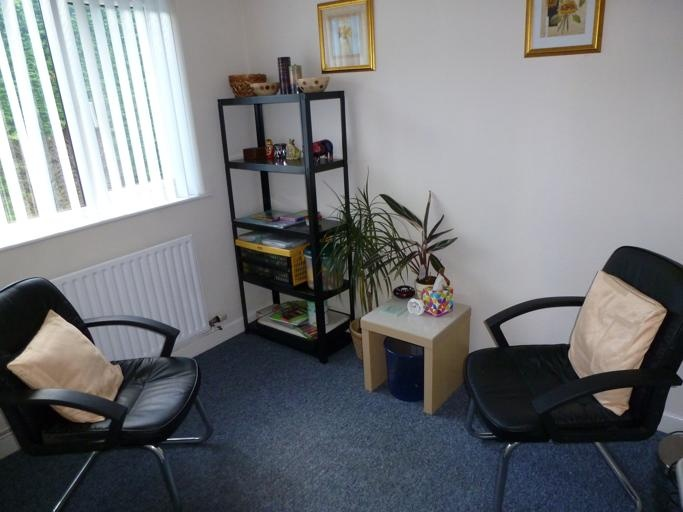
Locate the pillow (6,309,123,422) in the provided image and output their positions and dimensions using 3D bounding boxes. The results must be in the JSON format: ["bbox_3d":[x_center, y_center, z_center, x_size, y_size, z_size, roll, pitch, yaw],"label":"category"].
[{"bbox_3d":[-1.321,0.564,2.516,0.145,0.497,0.476,-32,41,14],"label":"pillow"}]

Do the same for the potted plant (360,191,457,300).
[{"bbox_3d":[0.412,-0.046,3.297,0.652,0.688,0.518,5,25,16],"label":"potted plant"}]

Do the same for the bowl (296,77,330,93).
[{"bbox_3d":[-0.181,-1.087,3.233,0.200,0.086,0.218,-3,25,1],"label":"bowl"}]

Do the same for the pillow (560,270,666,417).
[{"bbox_3d":[1.271,0.415,2.353,0.285,0.604,0.612,-5,10,2],"label":"pillow"}]

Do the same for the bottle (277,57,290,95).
[{"bbox_3d":[-0.379,-1.180,3.325,0.097,0.217,0.090,-2,24,1],"label":"bottle"}]

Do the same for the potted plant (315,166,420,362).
[{"bbox_3d":[0.157,-0.029,3.357,0.786,1.325,0.767,10,18,33],"label":"potted plant"}]

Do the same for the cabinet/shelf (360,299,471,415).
[{"bbox_3d":[0.489,0.469,3.291,0.597,0.662,0.654,9,21,32],"label":"cabinet/shelf"}]

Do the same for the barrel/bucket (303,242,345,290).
[{"bbox_3d":[-0.108,0.066,3.484,0.266,0.279,0.273,-3,18,1],"label":"barrel/bucket"}]

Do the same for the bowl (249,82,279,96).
[{"bbox_3d":[-0.509,-1.118,3.402,0.166,0.081,0.113,-6,25,-7],"label":"bowl"}]

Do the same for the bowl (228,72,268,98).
[{"bbox_3d":[-0.654,-1.169,3.453,0.172,0.097,0.186,0,15,0],"label":"bowl"}]
